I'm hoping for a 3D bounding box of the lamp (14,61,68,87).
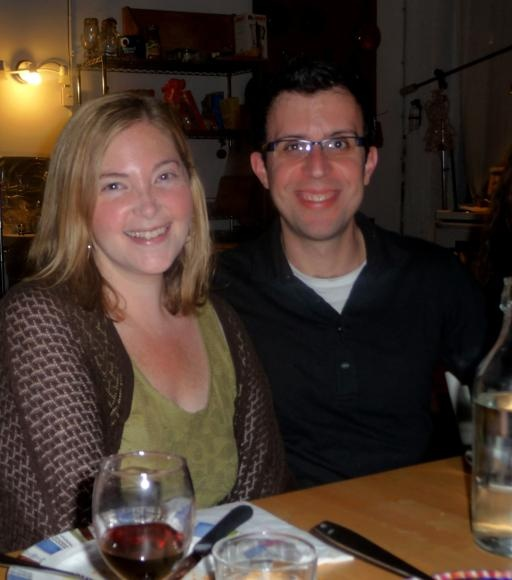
[{"bbox_3d":[-1.742,-1.731,4.620,0.321,0.147,0.216,3,29,35],"label":"lamp"}]
